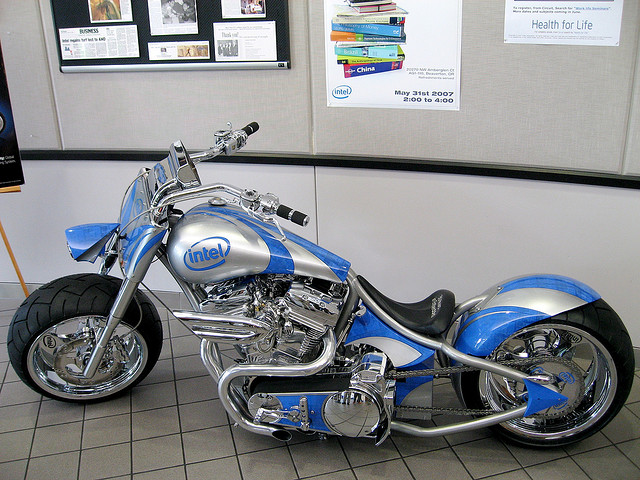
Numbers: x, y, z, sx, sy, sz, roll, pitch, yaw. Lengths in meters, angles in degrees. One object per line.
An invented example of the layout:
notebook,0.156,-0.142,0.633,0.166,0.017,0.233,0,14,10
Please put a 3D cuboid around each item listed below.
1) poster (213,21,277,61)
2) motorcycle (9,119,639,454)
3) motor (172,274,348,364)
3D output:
poster,-0.464,-1.249,2.901,0.396,0.212,0.044,4,27,10
motorcycle,0.173,0.248,2.425,2.484,1.220,1.044,7,42,3
motor,-0.209,0.258,2.133,0.720,0.426,0.585,9,14,-1
